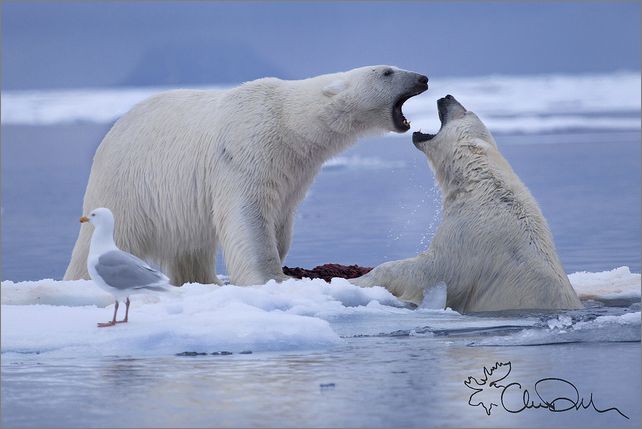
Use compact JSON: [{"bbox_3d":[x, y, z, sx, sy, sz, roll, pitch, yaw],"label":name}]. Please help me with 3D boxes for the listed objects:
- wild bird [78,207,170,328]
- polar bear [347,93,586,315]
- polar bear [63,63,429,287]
[{"bbox_3d":[-1.812,0.498,10.619,0.723,1.010,0.782,-4,16,-15],"label":"wild bird"},{"bbox_3d":[1.674,0.011,11.699,1.943,2.075,1.300,14,21,42],"label":"polar bear"},{"bbox_3d":[-1.111,-0.369,13.467,3.707,2.572,3.055,-10,20,-19],"label":"polar bear"}]
